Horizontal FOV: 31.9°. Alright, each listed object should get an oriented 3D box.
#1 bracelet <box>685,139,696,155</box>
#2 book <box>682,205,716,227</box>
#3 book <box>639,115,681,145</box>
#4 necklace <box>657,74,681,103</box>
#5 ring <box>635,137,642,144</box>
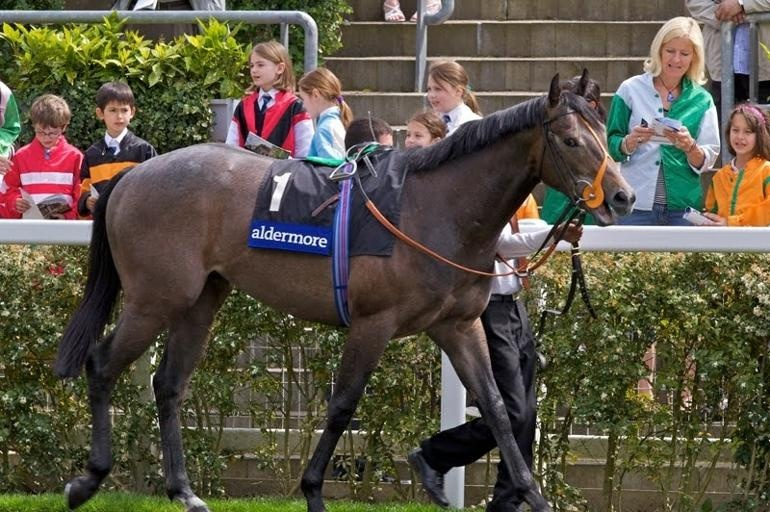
[{"bbox_3d":[2.169,-0.765,9.530,0.086,0.110,0.048,-1,1,19],"label":"bracelet"},{"bbox_3d":[2.216,-0.259,9.464,0.215,0.062,0.116,24,-3,-9],"label":"book"},{"bbox_3d":[1.943,-0.874,9.437,0.261,0.113,0.190,3,2,18],"label":"book"},{"bbox_3d":[2.104,-1.226,9.949,0.154,0.201,0.064,4,2,5],"label":"necklace"},{"bbox_3d":[1.791,-0.810,9.487,0.048,0.043,0.015,1,4,12],"label":"ring"}]
